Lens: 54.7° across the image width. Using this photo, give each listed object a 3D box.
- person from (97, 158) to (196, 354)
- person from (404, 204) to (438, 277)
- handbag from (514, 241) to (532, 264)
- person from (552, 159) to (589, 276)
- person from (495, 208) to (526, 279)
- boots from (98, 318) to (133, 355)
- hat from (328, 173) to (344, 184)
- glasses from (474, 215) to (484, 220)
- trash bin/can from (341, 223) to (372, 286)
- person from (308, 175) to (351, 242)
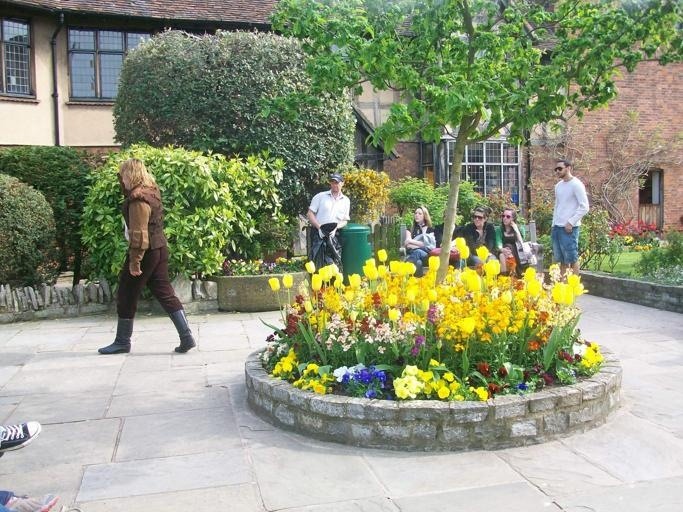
[{"bbox_3d":[-2.246,0.021,7.596,0.976,2.258,0.464,-4,10,-16],"label":"person"},{"bbox_3d":[1.333,-0.203,11.310,0.524,1.188,0.669,12,27,36],"label":"person"},{"bbox_3d":[2.902,-0.047,10.610,0.325,0.429,0.221,-1,-5,-7],"label":"handbag"},{"bbox_3d":[3.516,-0.597,10.204,0.459,1.769,0.734,-3,10,-11],"label":"person"},{"bbox_3d":[2.762,-0.180,10.653,0.404,1.096,1.148,2,10,14],"label":"person"},{"bbox_3d":[-2.616,0.911,7.683,0.357,0.433,0.201,4,13,-24],"label":"boots"},{"bbox_3d":[-0.059,-1.216,10.123,0.161,0.134,0.252,3,-10,12],"label":"hat"},{"bbox_3d":[2.258,-0.633,10.760,0.166,0.074,0.097,3,11,18],"label":"glasses"},{"bbox_3d":[0.256,0.062,10.622,0.545,0.963,0.555,-8,25,-28],"label":"trash bin/can"},{"bbox_3d":[-0.198,-0.769,10.276,0.644,1.042,0.567,-1,10,-4],"label":"person"}]
